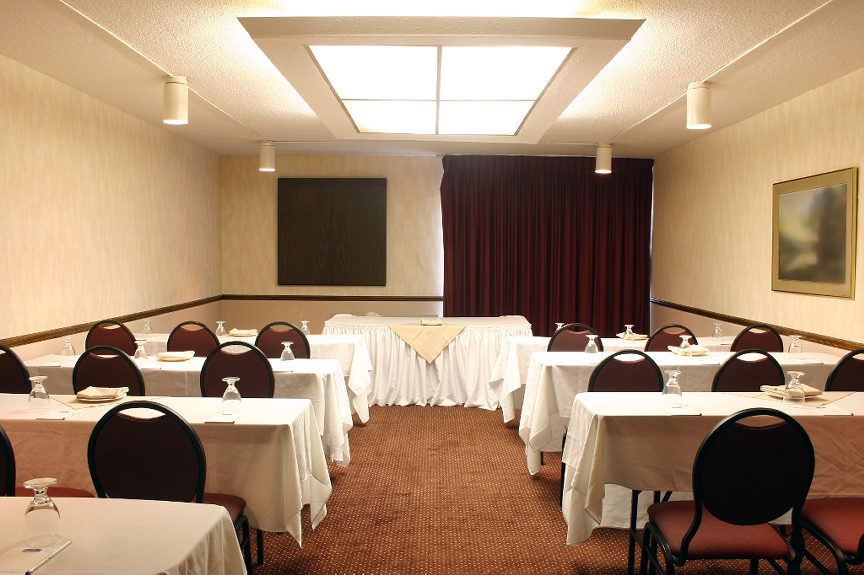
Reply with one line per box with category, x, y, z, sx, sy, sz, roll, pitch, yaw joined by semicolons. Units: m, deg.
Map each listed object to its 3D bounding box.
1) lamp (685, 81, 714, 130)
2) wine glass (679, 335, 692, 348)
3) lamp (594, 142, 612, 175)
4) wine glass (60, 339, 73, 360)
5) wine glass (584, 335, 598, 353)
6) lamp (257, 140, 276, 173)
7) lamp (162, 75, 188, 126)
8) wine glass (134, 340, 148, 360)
lamp;2.459;-1.691;5.669;0.313;0.362;0.315;2;8;27
wine glass;2.361;0.496;5.723;0.109;0.109;0.096;-2;5;7
lamp;2.312;-1.751;8.222;0.165;0.374;0.573;4;10;20
wine glass;-3.384;0.575;5.639;0.132;0.184;0.130;4;-7;-25
wine glass;1.427;0.503;5.435;0.151;0.183;0.162;0;1;15
lamp;-2.303;-1.823;8.491;0.186;0.372;0.674;-2;9;-10
lamp;-2.328;-1.710;5.528;0.204;0.428;0.263;-4;11;-23
wine glass;-2.667;0.571;5.574;0.142;0.184;0.142;1;-3;-10
